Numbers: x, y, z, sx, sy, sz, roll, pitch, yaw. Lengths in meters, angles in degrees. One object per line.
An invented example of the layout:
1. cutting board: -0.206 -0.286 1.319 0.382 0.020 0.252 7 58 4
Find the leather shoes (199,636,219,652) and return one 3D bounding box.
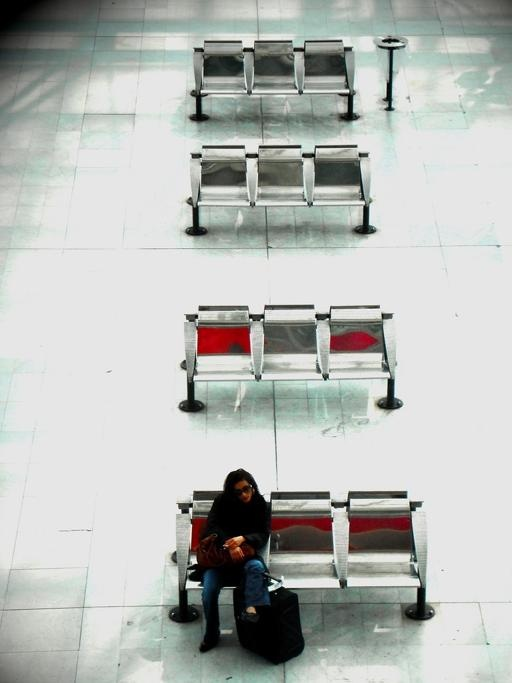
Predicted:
1. leather shoes: -0.262 1.669 3.540 0.037 0.076 0.111 14 31 28

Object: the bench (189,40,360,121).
1. bench: 0.257 -3.850 9.553 2.472 0.996 0.695 0 9 2

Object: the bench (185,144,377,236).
1. bench: 0.291 -1.817 7.704 2.198 0.938 0.800 -3 36 1

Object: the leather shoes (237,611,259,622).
1. leather shoes: -0.045 1.384 3.232 0.044 0.048 0.116 -15 8 -32

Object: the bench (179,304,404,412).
1. bench: 0.308 0.164 5.539 1.904 0.781 0.545 0 21 1
